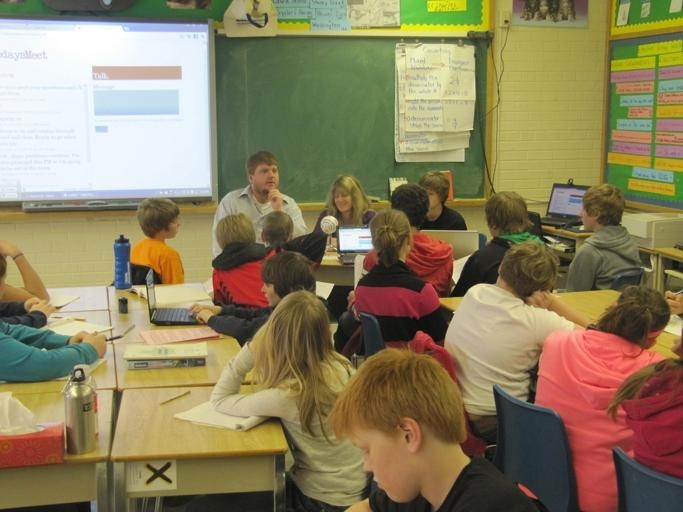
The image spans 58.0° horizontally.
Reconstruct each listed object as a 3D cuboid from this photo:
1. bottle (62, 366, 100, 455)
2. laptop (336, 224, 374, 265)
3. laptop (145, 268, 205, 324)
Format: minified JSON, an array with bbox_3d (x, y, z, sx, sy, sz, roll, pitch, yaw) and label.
[{"bbox_3d":[-0.944,0.547,2.205,0.124,0.297,0.130,-3,14,1],"label":"bottle"},{"bbox_3d":[0.110,-0.087,4.967,0.313,0.239,0.264,-1,3,-9],"label":"laptop"},{"bbox_3d":[-0.934,0.178,3.429,0.267,0.255,0.338,-4,8,-12],"label":"laptop"}]
